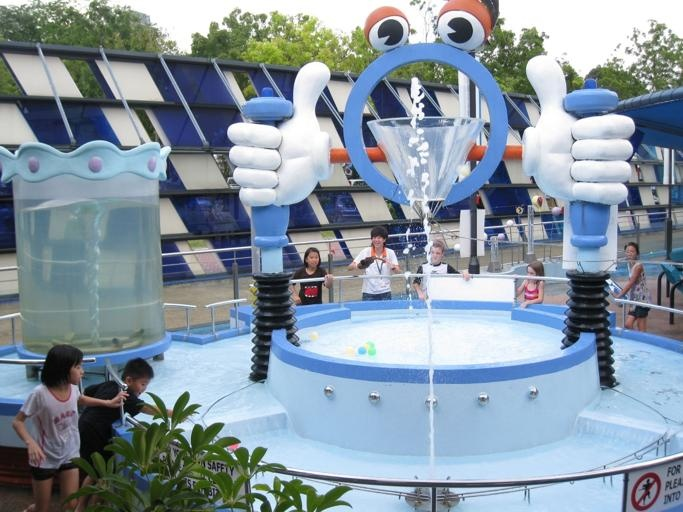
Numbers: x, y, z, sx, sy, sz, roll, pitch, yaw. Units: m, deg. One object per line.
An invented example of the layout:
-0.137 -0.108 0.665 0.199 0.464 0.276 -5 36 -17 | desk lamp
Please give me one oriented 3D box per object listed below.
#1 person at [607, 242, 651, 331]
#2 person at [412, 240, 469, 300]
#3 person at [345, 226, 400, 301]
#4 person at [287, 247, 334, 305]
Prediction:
4.614 0.520 12.098 0.502 1.229 1.955 -3 0 20 | person
1.757 0.256 13.470 1.070 1.502 0.709 -2 5 -10 | person
0.543 0.138 12.004 0.692 1.115 0.943 -3 0 5 | person
-0.463 0.314 11.746 0.591 0.849 1.449 -3 0 -3 | person
